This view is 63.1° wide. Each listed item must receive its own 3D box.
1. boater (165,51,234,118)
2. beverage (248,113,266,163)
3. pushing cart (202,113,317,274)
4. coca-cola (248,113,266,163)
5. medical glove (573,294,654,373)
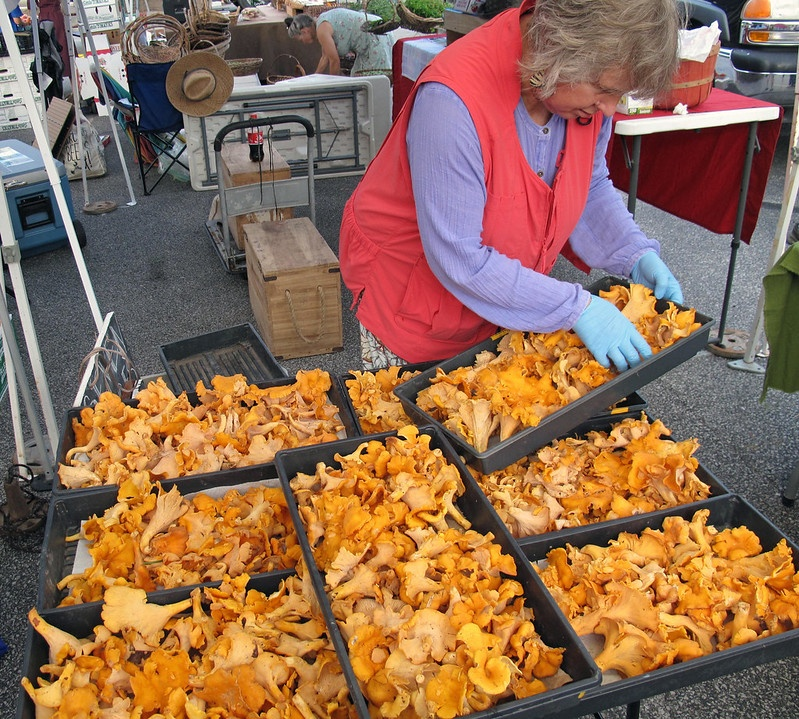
[{"bbox_3d":[-1.646,-2.302,5.489,0.556,0.543,0.130,-29,5,0],"label":"boater"},{"bbox_3d":[-1.125,-1.677,5.120,0.118,0.230,0.250,-10,35,-11],"label":"beverage"},{"bbox_3d":[-1.122,-1.328,5.160,0.864,1.408,1.205,-8,57,-10],"label":"pushing cart"},{"bbox_3d":[-1.125,-1.677,5.120,0.118,0.230,0.250,-10,35,-11],"label":"coca-cola"},{"bbox_3d":[0.556,-0.066,1.727,0.133,0.232,0.056,-39,3,4],"label":"medical glove"}]
